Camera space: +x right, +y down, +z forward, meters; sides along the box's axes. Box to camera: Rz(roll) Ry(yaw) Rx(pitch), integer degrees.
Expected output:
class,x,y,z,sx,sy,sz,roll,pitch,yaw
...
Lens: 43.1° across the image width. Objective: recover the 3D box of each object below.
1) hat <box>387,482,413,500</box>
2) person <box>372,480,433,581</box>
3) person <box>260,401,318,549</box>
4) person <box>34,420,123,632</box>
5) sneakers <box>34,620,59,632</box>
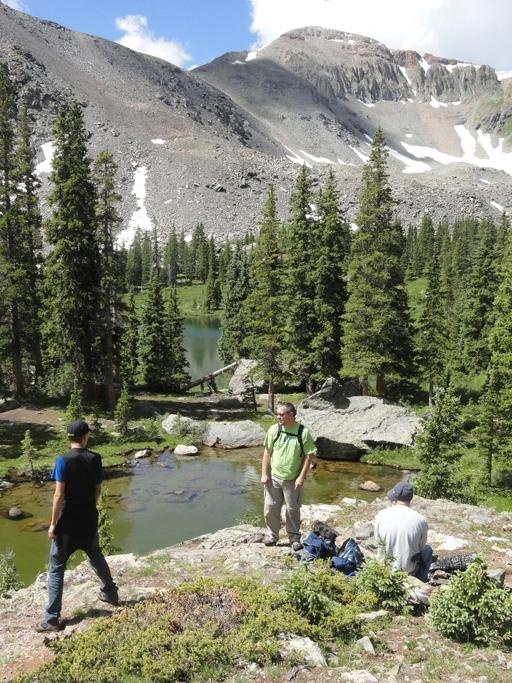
class,x,y,z,sx,sy,sz,roll,pitch,yaw
hat,2.428,2.533,10.980,0.316,0.233,0.423,-8,20,-32
person,2.560,3.272,11.098,0.895,1.835,0.675,-2,7,-39
person,0.606,2.676,12.901,1.042,2.956,0.660,5,6,19
person,-2.898,2.960,10.625,1.210,3.276,0.801,0,6,-26
sneakers,-3.262,4.538,10.271,0.402,0.165,0.152,3,-1,-3
